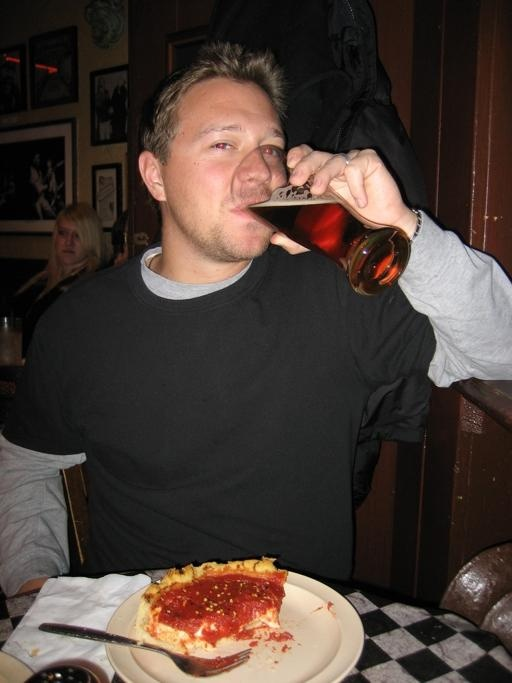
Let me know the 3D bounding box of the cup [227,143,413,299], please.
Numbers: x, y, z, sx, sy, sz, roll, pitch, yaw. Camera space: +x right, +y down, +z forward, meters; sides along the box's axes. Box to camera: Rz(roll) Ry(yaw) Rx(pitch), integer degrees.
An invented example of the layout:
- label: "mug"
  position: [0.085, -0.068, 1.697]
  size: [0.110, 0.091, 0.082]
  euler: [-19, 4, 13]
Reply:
- label: "cup"
  position: [0.083, -0.200, 0.951]
  size: [0.219, 0.089, 0.173]
  euler: [30, 4, 9]
